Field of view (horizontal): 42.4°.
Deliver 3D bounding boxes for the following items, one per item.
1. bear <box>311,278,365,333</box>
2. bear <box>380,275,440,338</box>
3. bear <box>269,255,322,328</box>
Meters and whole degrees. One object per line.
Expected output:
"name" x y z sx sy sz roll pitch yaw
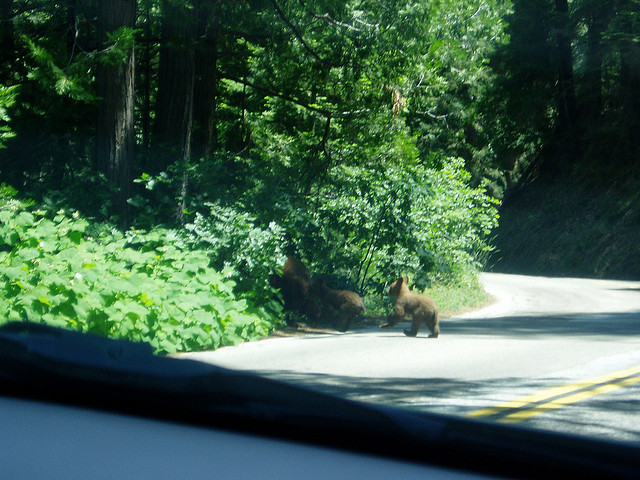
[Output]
"bear" 0.119 1.414 16.730 1.443 0.883 0.473 8 -15 6
"bear" 1.695 1.263 15.460 1.024 1.069 0.566 10 12 25
"bear" -0.472 1.018 16.319 0.786 1.153 1.243 -1 10 -38
